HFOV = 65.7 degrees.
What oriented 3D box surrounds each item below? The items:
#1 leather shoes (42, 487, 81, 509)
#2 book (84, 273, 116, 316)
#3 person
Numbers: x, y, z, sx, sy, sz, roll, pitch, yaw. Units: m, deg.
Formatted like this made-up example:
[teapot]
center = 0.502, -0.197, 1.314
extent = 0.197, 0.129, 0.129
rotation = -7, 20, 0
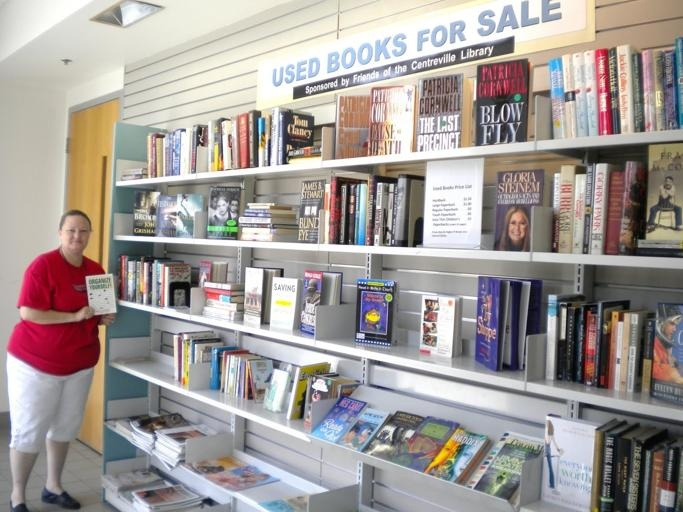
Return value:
[leather shoes]
center = -2.096, 1.793, 3.957
extent = 0.312, 0.119, 0.116
rotation = 7, -7, 11
[book]
center = -1.723, 0.273, 3.724
extent = 0.264, 0.358, 0.038
rotation = -7, 1, -34
[person]
center = -2.041, 0.771, 3.775
extent = 0.690, 2.181, 0.469
rotation = -2, 3, -25
